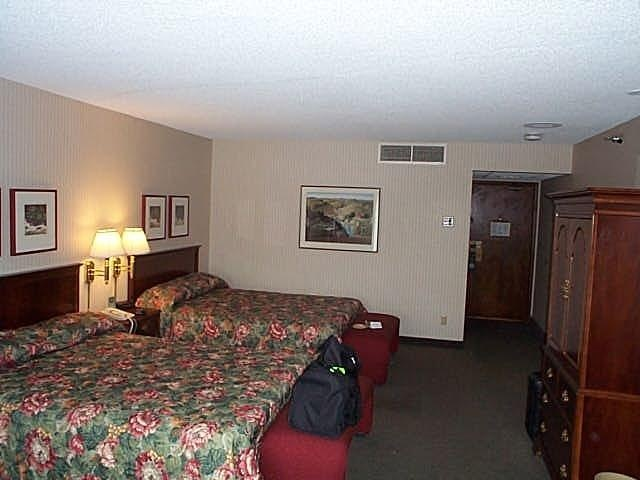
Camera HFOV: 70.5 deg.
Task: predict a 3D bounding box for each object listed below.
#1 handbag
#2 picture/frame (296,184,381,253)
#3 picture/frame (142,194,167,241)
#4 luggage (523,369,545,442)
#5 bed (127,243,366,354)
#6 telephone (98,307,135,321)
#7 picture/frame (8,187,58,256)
[{"bbox_3d":[0.060,1.090,3.464,0.428,0.231,0.628,2,32,7],"label":"handbag"},{"bbox_3d":[0.332,-0.343,6.738,1.022,0.807,0.037,2,1,10],"label":"picture/frame"},{"bbox_3d":[-2.117,-0.296,5.725,0.071,0.697,0.608,1,3,21],"label":"picture/frame"},{"bbox_3d":[2.005,1.563,4.217,0.230,0.621,0.707,0,2,25],"label":"luggage"},{"bbox_3d":[-0.763,0.803,6.002,2.796,1.049,2.168,6,3,14],"label":"bed"},{"bbox_3d":[-2.154,0.785,4.816,0.277,0.047,0.163,12,13,11],"label":"telephone"},{"bbox_3d":[-2.671,-0.172,4.174,0.051,0.697,0.649,1,2,22],"label":"picture/frame"}]
